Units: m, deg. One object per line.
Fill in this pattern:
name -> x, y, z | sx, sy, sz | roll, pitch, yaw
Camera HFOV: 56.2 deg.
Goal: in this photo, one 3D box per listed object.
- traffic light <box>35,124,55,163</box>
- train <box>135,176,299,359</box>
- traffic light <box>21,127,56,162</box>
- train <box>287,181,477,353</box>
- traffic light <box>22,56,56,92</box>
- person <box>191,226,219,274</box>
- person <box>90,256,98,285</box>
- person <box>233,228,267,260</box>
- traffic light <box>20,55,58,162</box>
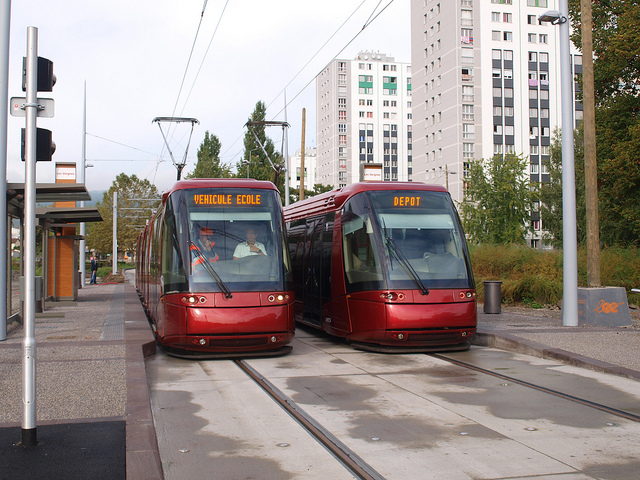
traffic light -> -3.232, -1.085, 6.892 | 0.312, 0.358, 0.377 | 0, 3, -33
train -> -3.603, 0.599, 17.135 | 2.882, 3.655, 12.421 | -1, -2, -20
traffic light -> -3.230, -1.076, 6.779 | 0.356, 0.325, 0.359 | 1, 0, -17
train -> 0.953, 0.541, 16.793 | 3.006, 3.565, 9.802 | 0, -1, -16
traffic light -> -3.225, -1.926, 6.806 | 0.361, 0.491, 0.358 | -7, 34, -33
person -> -2.215, 0.162, 11.470 | 0.471, 0.794, 0.342 | 1, 0, -13
person -> -15.765, 2.094, 41.604 | 0.340, 1.618, 1.314 | 1, 0, -21
person -> -1.422, 0.117, 11.957 | 0.638, 0.860, 0.528 | 2, -20, -12
traffic light -> -3.210, -1.465, 6.789 | 0.425, 1.143, 0.305 | -3, 18, -35
